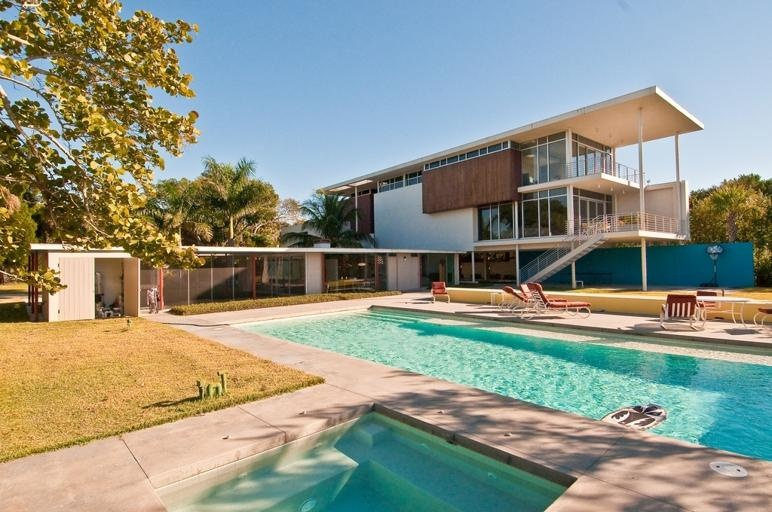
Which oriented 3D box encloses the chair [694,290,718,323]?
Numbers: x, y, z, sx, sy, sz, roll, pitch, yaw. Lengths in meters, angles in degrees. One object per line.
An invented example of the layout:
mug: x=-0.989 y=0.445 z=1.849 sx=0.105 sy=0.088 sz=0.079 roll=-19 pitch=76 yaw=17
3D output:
chair: x=11.212 y=1.848 z=17.371 sx=0.859 sy=1.152 sz=0.890 roll=-3 pitch=-10 yaw=30

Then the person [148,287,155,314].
person: x=-10.168 y=1.945 z=21.612 sx=0.342 sy=0.967 sz=0.855 roll=-4 pitch=11 yaw=-25

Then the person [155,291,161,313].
person: x=-10.008 y=2.021 z=21.928 sx=0.220 sy=0.844 sz=0.702 roll=-3 pitch=11 yaw=-22

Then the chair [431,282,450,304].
chair: x=2.766 y=1.859 z=25.181 sx=0.821 sy=1.011 sz=0.967 roll=0 pitch=-5 yaw=-2

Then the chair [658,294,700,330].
chair: x=9.884 y=1.885 z=16.709 sx=1.368 sy=1.189 sz=1.390 roll=-2 pitch=4 yaw=3

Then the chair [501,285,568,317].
chair: x=6.009 y=1.844 z=20.040 sx=2.183 sy=0.748 sz=1.239 roll=-2 pitch=0 yaw=-22

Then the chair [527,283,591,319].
chair: x=6.815 y=1.830 z=19.489 sx=2.391 sy=1.175 sz=1.894 roll=4 pitch=10 yaw=16

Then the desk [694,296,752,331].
desk: x=11.640 y=1.823 z=17.133 sx=1.502 sy=0.968 sz=1.715 roll=8 pitch=11 yaw=34
